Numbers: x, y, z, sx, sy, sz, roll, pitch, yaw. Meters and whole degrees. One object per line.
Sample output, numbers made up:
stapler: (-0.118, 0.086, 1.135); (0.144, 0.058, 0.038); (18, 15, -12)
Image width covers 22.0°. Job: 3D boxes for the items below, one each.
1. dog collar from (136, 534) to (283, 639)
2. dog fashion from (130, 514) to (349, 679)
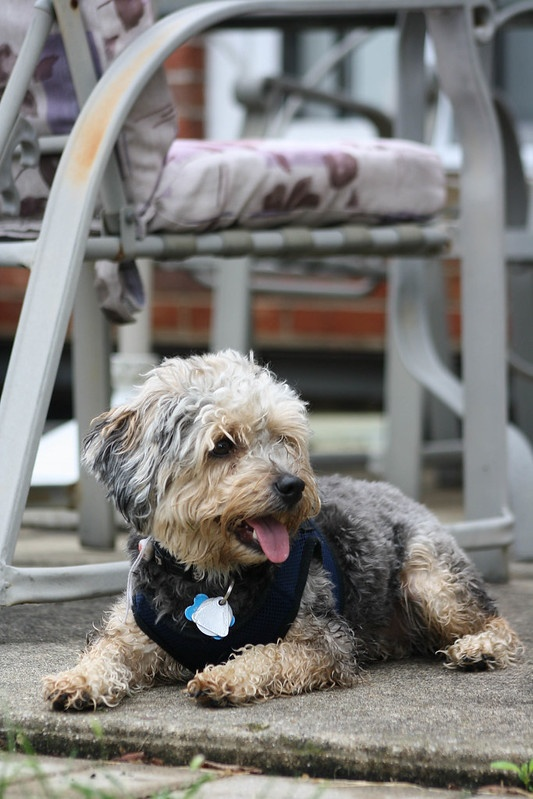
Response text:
dog collar: (-0.145, 0.445, 3.226); (0.400, 0.237, 0.203); (-2, 0, 3)
dog fashion: (-0.163, 0.426, 3.457); (0.749, 0.391, 0.363); (0, 4, -35)
